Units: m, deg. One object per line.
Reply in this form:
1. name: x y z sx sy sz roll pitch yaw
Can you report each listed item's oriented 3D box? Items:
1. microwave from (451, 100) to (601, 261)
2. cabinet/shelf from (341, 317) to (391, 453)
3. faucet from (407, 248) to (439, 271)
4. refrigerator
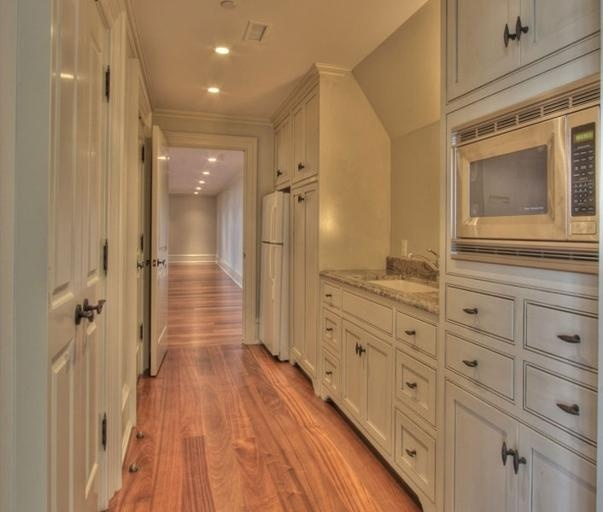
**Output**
1. microwave: 0.719 -0.235 1.521 0.268 0.469 0.552 0 2 -16
2. cabinet/shelf: 0.375 0.731 2.630 0.211 0.642 0.629 2 2 -9
3. faucet: 0.796 0.014 3.081 0.057 0.184 0.371 1 3 -15
4. refrigerator: -0.266 0.161 4.389 0.160 1.514 0.586 -1 4 -23
